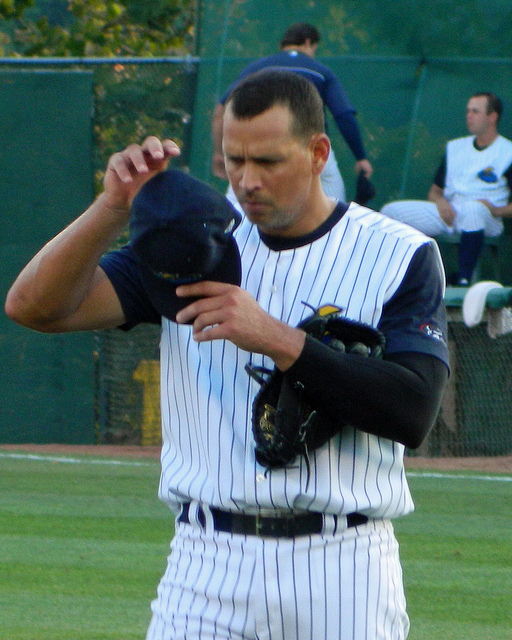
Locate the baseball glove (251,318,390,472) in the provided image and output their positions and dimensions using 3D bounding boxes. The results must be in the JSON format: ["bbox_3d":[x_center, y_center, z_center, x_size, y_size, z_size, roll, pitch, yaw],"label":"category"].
[{"bbox_3d":[0.183,0.257,4.417,0.312,0.605,0.141,15,5,36],"label":"baseball glove"}]

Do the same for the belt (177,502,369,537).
[{"bbox_3d":[0.048,0.659,4.460,0.628,0.083,0.111,3,8,9],"label":"belt"}]

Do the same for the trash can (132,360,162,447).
[{"bbox_3d":[-0.737,0.563,9.175,0.196,0.598,0.167,3,8,12],"label":"trash can"}]
